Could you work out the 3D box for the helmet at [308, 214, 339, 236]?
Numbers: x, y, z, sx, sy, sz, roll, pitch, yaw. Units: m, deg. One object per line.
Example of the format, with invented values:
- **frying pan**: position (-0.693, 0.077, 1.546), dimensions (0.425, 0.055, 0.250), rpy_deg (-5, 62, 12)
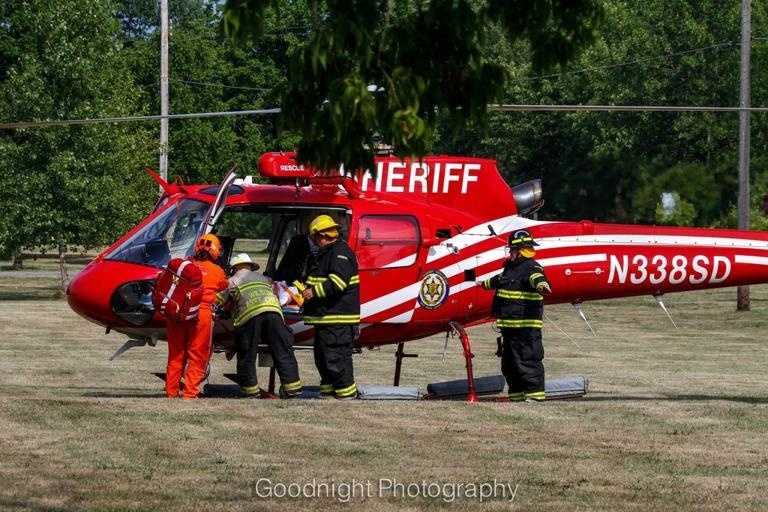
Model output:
- **helmet**: position (-1.382, -0.709, 34.703), dimensions (0.597, 0.306, 0.449), rpy_deg (16, 20, 39)
